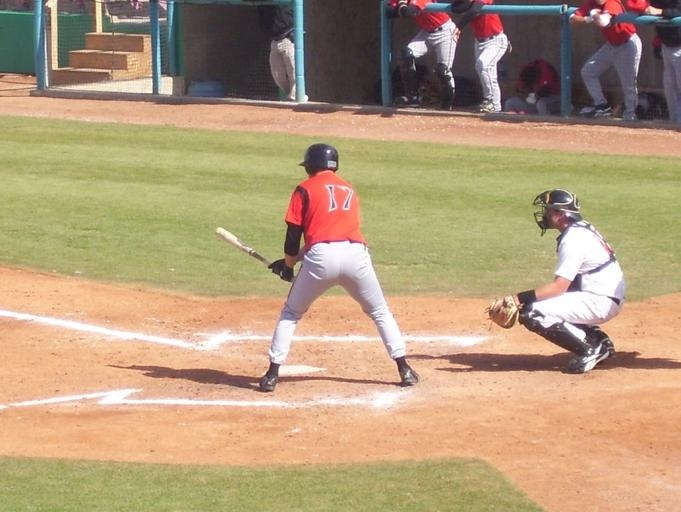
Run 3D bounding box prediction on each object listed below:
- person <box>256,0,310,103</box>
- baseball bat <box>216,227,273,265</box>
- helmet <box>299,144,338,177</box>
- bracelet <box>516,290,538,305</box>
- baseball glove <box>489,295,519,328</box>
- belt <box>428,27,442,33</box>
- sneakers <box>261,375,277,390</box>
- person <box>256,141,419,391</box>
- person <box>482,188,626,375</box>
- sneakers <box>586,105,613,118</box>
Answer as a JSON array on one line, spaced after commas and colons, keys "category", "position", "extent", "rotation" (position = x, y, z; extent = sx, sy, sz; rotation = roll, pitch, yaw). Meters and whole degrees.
[{"category": "person", "position": [-1.051, -3.583, 23.880], "extent": [0.553, 1.698, 1.425], "rotation": [0, 4, -12]}, {"category": "baseball bat", "position": [-1.090, -0.104, 15.511], "extent": [0.783, 0.104, 0.091], "rotation": [29, 32, 19]}, {"category": "helmet", "position": [-0.164, -0.918, 12.753], "extent": [0.289, 0.285, 0.337], "rotation": [-2, 8, -32]}, {"category": "bracelet", "position": [1.782, 0.386, 12.890], "extent": [0.169, 0.093, 0.128], "rotation": [-12, -2, 24]}, {"category": "baseball glove", "position": [1.566, 0.525, 12.951], "extent": [0.262, 0.306, 0.114], "rotation": [35, -2, 15]}, {"category": "belt", "position": [1.507, -3.587, 21.694], "extent": [0.208, 0.061, 0.038], "rotation": [3, 5, 36]}, {"category": "sneakers", "position": [-0.674, 1.180, 12.770], "extent": [0.094, 0.074, 0.188], "rotation": [2, 25, -9]}, {"category": "person", "position": [-0.060, 0.122, 12.616], "extent": [1.342, 2.312, 0.432], "rotation": [1, 4, -4]}, {"category": "person", "position": [2.137, 0.229, 12.995], "extent": [1.136, 1.726, 0.572], "rotation": [2, 4, 9]}, {"category": "sneakers", "position": [4.036, -2.252, 21.151], "extent": [0.462, 0.165, 0.152], "rotation": [0, 14, 14]}]
